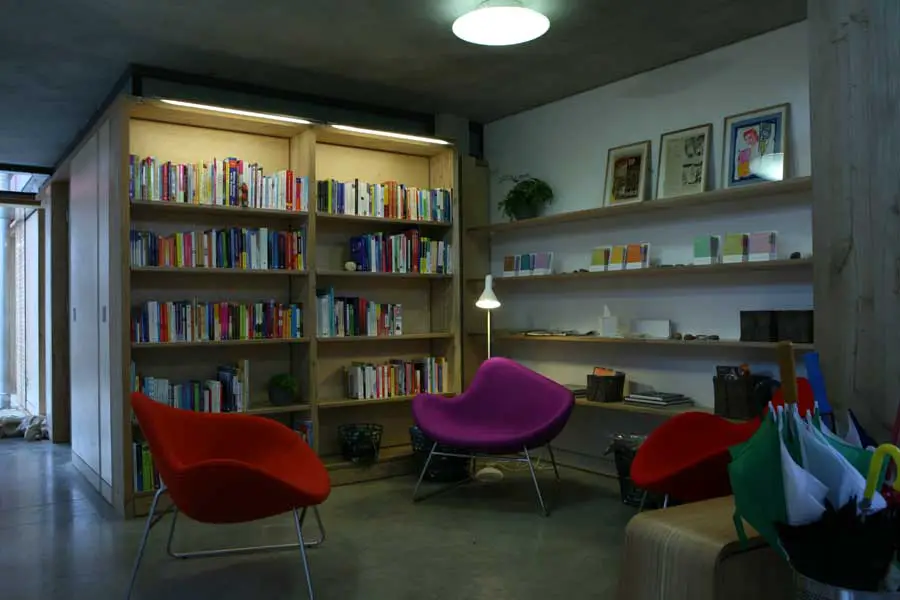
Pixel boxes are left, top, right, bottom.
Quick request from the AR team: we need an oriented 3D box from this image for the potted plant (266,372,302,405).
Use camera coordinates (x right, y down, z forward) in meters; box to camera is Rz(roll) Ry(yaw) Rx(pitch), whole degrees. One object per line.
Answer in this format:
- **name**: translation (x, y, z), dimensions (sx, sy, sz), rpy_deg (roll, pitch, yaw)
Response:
- **potted plant**: translation (-1.302, 0.734, 5.646), dimensions (0.239, 0.235, 0.236), rpy_deg (-7, -26, 37)

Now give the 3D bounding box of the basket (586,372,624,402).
- **basket**: translation (1.245, 0.699, 5.595), dimensions (0.371, 0.250, 0.204), rpy_deg (2, -4, -31)

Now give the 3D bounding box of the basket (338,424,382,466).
- **basket**: translation (-0.772, 1.229, 5.939), dimensions (0.301, 0.218, 0.345), rpy_deg (5, -10, -40)

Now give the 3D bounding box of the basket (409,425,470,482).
- **basket**: translation (-0.154, 1.272, 5.801), dimensions (0.411, 0.441, 0.497), rpy_deg (3, 1, 45)

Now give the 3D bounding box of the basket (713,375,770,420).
- **basket**: translation (2.031, 0.647, 4.931), dimensions (0.290, 0.372, 0.395), rpy_deg (3, -4, -30)

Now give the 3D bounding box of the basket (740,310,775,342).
- **basket**: translation (2.142, 0.182, 4.819), dimensions (0.107, 0.195, 0.204), rpy_deg (4, -7, -32)

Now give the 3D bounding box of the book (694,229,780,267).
- **book**: translation (2.062, -0.373, 5.000), dimensions (0.271, 0.231, 0.612), rpy_deg (-5, 6, -43)

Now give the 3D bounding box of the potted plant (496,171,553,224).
- **potted plant**: translation (0.676, -0.954, 6.410), dimensions (0.452, 0.339, 0.484), rpy_deg (0, 0, -42)

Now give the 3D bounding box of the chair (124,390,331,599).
- **chair**: translation (-1.255, 1.185, 4.357), dimensions (1.213, 1.258, 1.207), rpy_deg (-2, 2, -2)

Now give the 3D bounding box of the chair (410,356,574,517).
- **chair**: translation (0.405, 0.878, 5.414), dimensions (1.267, 1.001, 1.035), rpy_deg (-2, -2, 28)
